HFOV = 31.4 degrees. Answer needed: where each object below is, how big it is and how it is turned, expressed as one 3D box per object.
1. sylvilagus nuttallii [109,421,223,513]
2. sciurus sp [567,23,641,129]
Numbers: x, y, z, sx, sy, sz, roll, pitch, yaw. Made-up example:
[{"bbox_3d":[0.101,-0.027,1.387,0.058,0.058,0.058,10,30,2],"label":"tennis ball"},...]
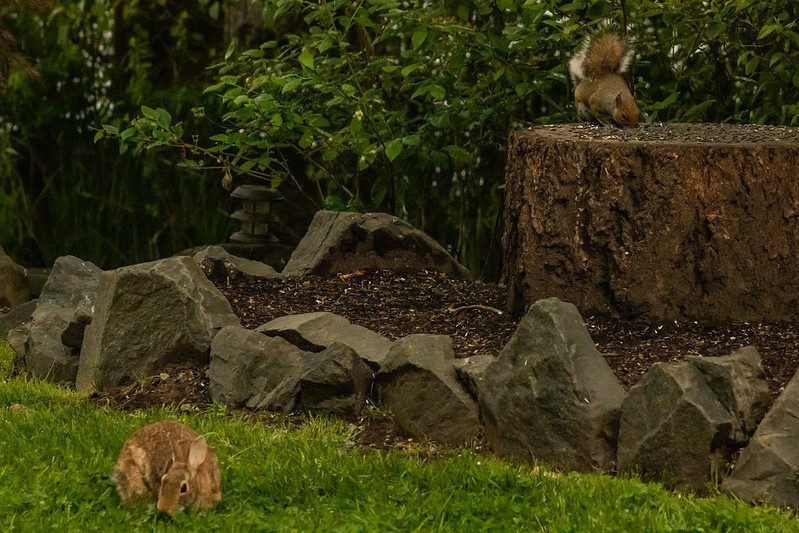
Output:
[{"bbox_3d":[-1.716,1.523,10.700,0.811,0.524,0.476,10,4,29],"label":"sylvilagus nuttallii"},{"bbox_3d":[1.899,-1.692,12.735,0.467,0.780,0.833,6,3,-25],"label":"sciurus sp"}]
